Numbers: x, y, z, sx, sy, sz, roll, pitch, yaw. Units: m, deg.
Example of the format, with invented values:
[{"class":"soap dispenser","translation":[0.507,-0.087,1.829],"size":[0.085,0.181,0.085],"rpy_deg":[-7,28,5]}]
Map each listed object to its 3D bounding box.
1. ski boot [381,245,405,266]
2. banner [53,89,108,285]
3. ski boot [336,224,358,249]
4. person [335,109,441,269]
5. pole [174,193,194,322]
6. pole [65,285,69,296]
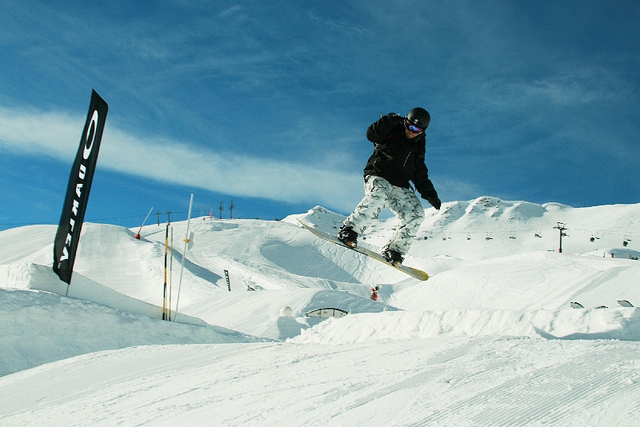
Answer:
[{"class":"ski boot","translation":[1.394,0.810,9.052],"size":[0.411,0.166,0.318],"rpy_deg":[28,-2,42]},{"class":"banner","translation":[-5.608,-0.299,10.753],"size":[0.391,4.824,0.990],"rpy_deg":[26,19,-4]},{"class":"ski boot","translation":[0.510,0.411,8.740],"size":[0.201,0.255,0.619],"rpy_deg":[38,2,-28]},{"class":"person","translation":[1.372,-0.436,8.745],"size":[1.640,2.713,0.873],"rpy_deg":[12,-2,-23]},{"class":"pole","translation":[-7.064,2.887,24.214],"size":[0.274,5.161,0.408],"rpy_deg":[13,-1,4]},{"class":"pole","translation":[-5.577,1.682,10.359],"size":[0.028,0.248,0.093],"rpy_deg":[13,-3,-17]}]
